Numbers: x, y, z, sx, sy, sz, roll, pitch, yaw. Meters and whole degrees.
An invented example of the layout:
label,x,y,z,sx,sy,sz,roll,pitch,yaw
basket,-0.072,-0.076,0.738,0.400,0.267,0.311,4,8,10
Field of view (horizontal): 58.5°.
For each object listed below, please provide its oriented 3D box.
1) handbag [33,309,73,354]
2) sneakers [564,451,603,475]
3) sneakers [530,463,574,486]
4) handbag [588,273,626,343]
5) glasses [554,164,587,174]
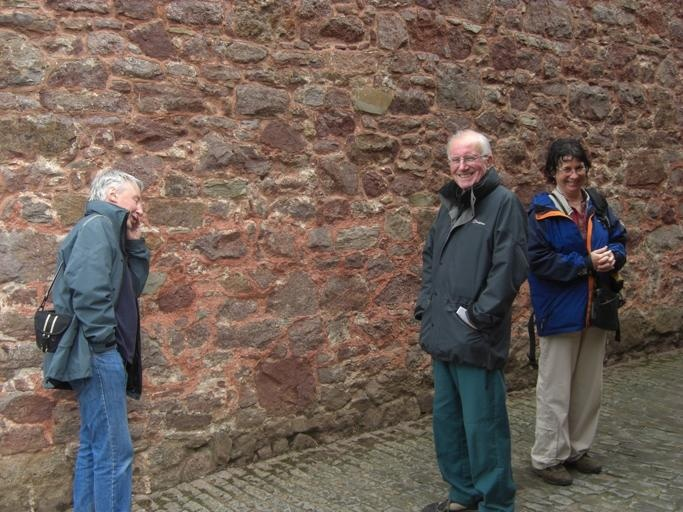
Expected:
label,x,y,z,sx,sy,sz,roll,pitch,yaw
handbag,-1.725,0.447,3.622,0.201,0.224,0.137,12,4,-3
sneakers,1.698,1.442,4.253,0.227,0.097,0.115,0,9,41
sneakers,1.447,1.481,4.143,0.220,0.098,0.102,4,8,42
handbag,1.894,0.369,4.278,0.168,0.573,0.507,3,12,33
glasses,1.607,-0.606,4.196,0.223,0.074,0.120,-3,10,3
